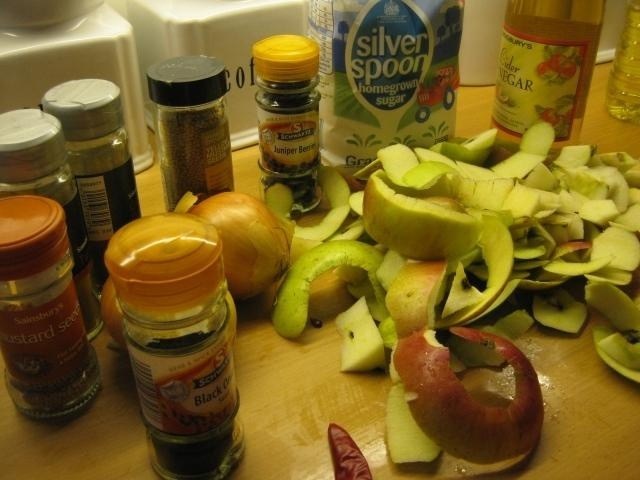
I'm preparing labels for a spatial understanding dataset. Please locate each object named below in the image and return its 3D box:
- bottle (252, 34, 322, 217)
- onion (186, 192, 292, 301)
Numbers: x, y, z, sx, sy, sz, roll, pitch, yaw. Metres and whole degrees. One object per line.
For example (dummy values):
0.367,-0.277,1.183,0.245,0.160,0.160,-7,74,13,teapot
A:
-0.048,-0.167,0.781,0.095,0.226,0.130,-3,36,0,bottle
-0.093,0.004,0.690,0.116,0.134,0.111,-10,-5,-31,onion
